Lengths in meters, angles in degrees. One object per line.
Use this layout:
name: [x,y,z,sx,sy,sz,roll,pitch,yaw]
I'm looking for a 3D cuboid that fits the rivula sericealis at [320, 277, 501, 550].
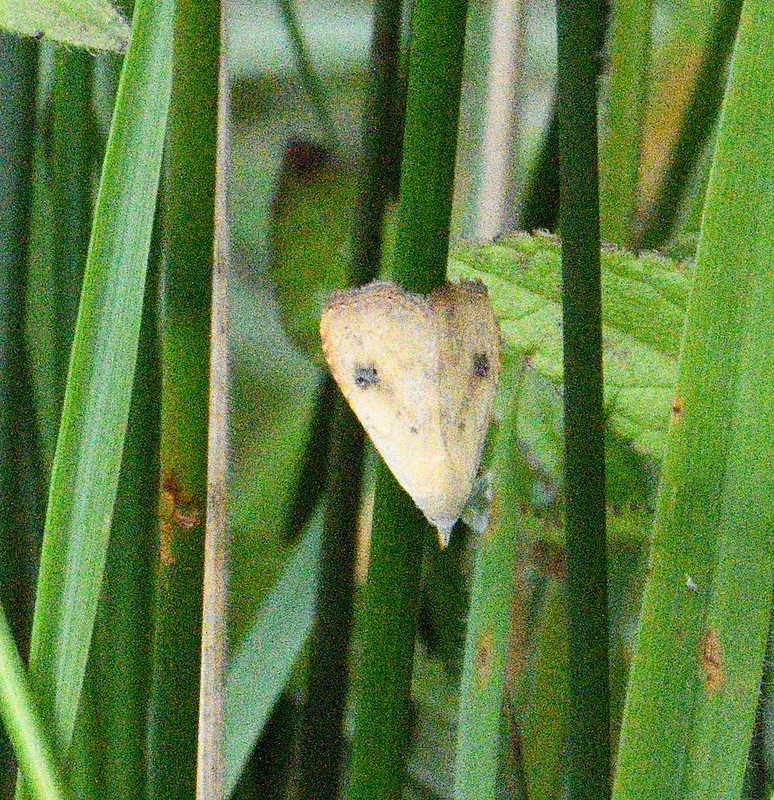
rivula sericealis: [0.013,0.006,0.456,0.038,0.096,0.079,2,2,39]
